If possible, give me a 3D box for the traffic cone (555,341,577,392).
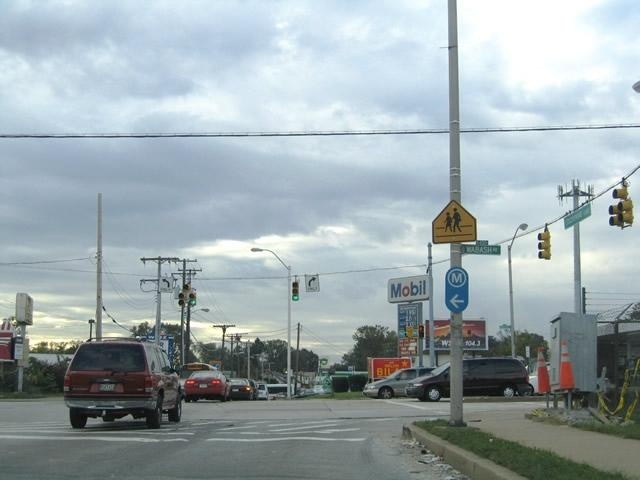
[{"bbox_3d":[6.048,3.103,23.640,0.349,1.206,0.390,-3,-9,15],"label":"traffic cone"}]

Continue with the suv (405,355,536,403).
[{"bbox_3d":[6.151,5.539,38.208,4.836,1.748,1.046,2,-9,-15],"label":"suv"}]

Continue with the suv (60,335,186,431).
[{"bbox_3d":[-5.411,4.006,26.967,2.438,2.350,5.115,1,-7,4],"label":"suv"}]
